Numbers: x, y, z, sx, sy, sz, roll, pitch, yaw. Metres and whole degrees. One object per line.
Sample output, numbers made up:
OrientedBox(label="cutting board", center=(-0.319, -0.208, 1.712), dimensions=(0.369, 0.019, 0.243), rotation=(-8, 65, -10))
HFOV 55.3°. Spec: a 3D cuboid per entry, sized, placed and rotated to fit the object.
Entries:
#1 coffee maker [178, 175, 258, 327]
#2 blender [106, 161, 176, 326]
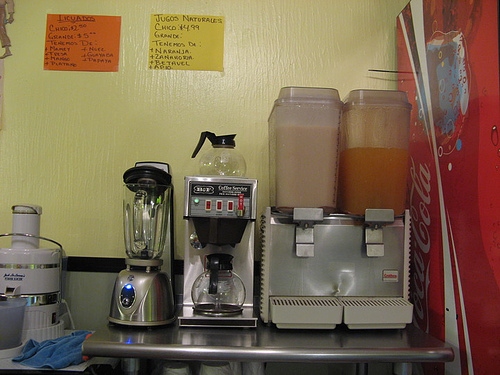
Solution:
OrientedBox(label="coffee maker", center=(-0.127, 0.253, 1.973), dimensions=(0.316, 0.605, 0.297), rotation=(1, -2, -6))
OrientedBox(label="blender", center=(-0.450, 0.216, 2.038), dimensions=(0.262, 0.673, 0.337), rotation=(1, -2, -9))
